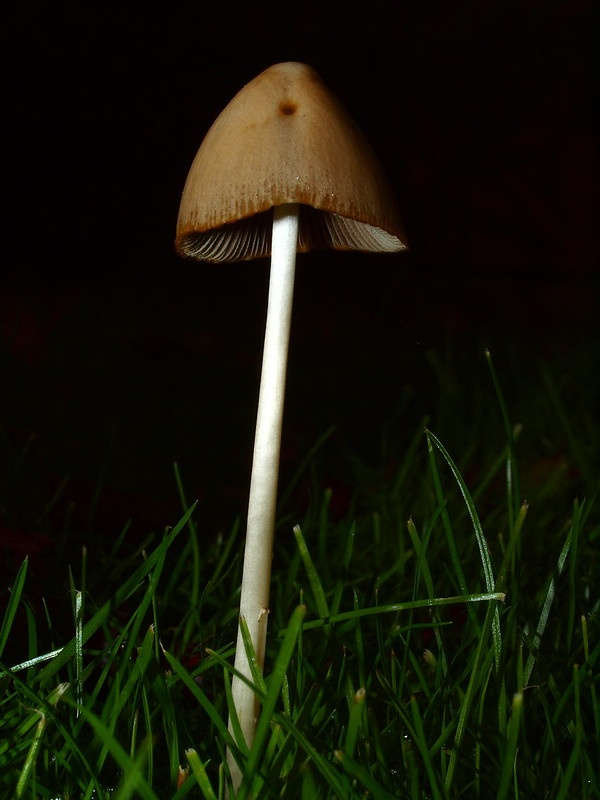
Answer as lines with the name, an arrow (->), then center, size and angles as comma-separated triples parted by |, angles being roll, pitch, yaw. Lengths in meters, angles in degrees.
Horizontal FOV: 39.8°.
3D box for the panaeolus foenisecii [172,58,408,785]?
panaeolus foenisecii -> -0.021, 0.022, 0.834 | 0.253, 0.666, 0.333 | 2, -25, 4
